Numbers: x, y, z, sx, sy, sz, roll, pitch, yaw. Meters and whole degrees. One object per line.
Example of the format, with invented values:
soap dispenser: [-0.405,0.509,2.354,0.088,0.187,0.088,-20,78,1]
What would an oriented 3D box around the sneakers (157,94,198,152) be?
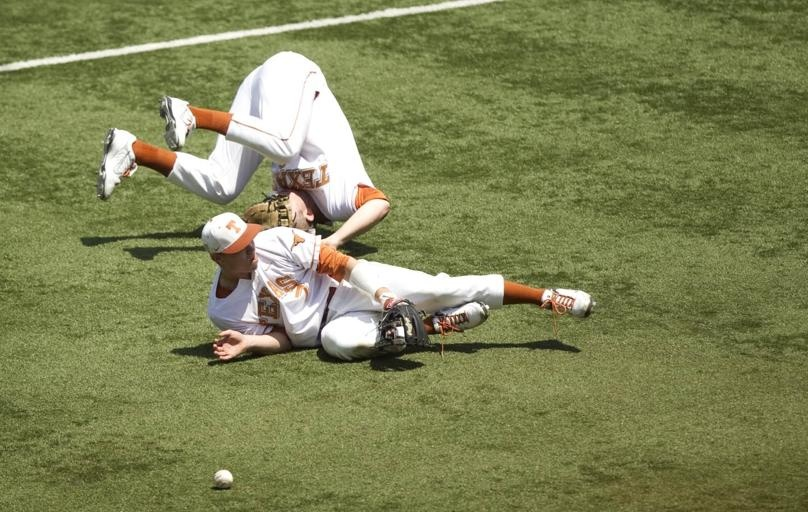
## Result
sneakers: [-2.114,-1.174,14.329,0.320,0.224,0.582,8,50,-25]

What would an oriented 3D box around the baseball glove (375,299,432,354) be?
baseball glove: [-0.007,0.640,13.656,0.446,0.444,0.346,7,46,-3]

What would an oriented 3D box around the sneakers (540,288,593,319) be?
sneakers: [1.445,0.411,13.925,0.456,0.199,0.182,8,6,5]

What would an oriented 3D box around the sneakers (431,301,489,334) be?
sneakers: [0.597,0.554,13.820,0.662,0.198,0.263,-11,7,17]
